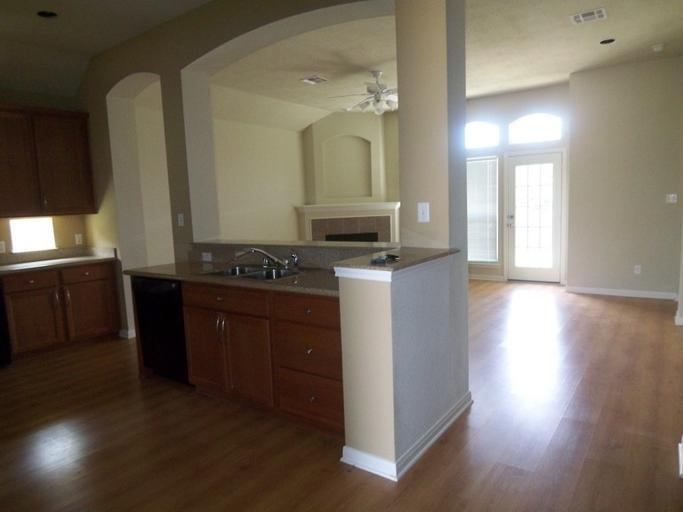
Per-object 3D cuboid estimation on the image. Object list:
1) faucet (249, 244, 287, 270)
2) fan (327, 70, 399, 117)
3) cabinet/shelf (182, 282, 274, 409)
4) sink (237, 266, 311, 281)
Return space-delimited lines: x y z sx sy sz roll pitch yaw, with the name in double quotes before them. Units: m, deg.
"faucet" -0.657 0.005 4.726 0.320 0.190 0.455 -4 7 -6
"fan" 0.448 -2.049 6.446 0.611 0.322 0.635 -11 3 -25
"cabinet/shelf" -0.893 0.714 4.209 0.926 0.911 0.479 5 10 29
"sink" -0.639 0.151 4.595 0.786 0.105 0.239 0 8 31
